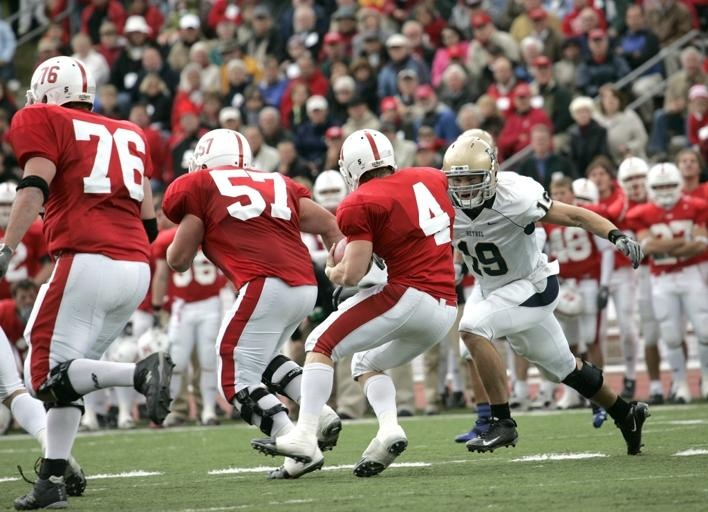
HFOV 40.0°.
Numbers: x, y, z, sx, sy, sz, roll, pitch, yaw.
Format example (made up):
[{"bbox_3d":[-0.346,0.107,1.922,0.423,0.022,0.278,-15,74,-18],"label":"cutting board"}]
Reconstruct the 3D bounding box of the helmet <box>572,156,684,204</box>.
[{"bbox_3d":[3.322,-0.825,10.928,0.580,0.533,0.494,7,-4,5],"label":"helmet"}]

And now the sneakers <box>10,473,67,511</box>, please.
[{"bbox_3d":[-1.899,1.448,5.942,0.303,0.199,0.188,-1,-10,-21],"label":"sneakers"}]

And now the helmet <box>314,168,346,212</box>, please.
[{"bbox_3d":[-0.253,-0.750,11.107,0.349,0.562,0.456,-5,-10,1],"label":"helmet"}]

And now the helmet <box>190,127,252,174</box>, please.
[{"bbox_3d":[-0.925,-0.771,6.862,0.338,0.309,0.290,12,13,37],"label":"helmet"}]

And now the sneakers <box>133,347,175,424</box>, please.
[{"bbox_3d":[-1.225,0.810,6.006,0.248,0.442,0.261,-3,-10,-7],"label":"sneakers"}]

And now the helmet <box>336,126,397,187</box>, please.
[{"bbox_3d":[0.084,-0.675,6.851,0.352,0.468,0.464,-11,13,-6],"label":"helmet"}]

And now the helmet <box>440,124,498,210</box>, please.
[{"bbox_3d":[0.931,-0.683,7.117,0.374,0.434,0.510,-14,19,27],"label":"helmet"}]

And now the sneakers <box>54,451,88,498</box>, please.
[{"bbox_3d":[-1.925,1.490,6.521,0.211,0.307,0.660,-19,-6,-17],"label":"sneakers"}]

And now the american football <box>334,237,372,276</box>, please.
[{"bbox_3d":[-0.006,0.005,6.679,0.178,0.230,0.238,19,-12,-23],"label":"american football"}]

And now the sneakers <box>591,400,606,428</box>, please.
[{"bbox_3d":[1.937,1.254,7.695,0.104,0.186,0.619,-7,-10,13],"label":"sneakers"}]

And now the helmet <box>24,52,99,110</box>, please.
[{"bbox_3d":[-1.981,-1.116,6.476,0.408,0.371,0.320,1,-5,16],"label":"helmet"}]

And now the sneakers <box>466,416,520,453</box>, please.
[{"bbox_3d":[0.988,1.258,6.868,0.399,0.238,0.139,-5,-8,-21],"label":"sneakers"}]
